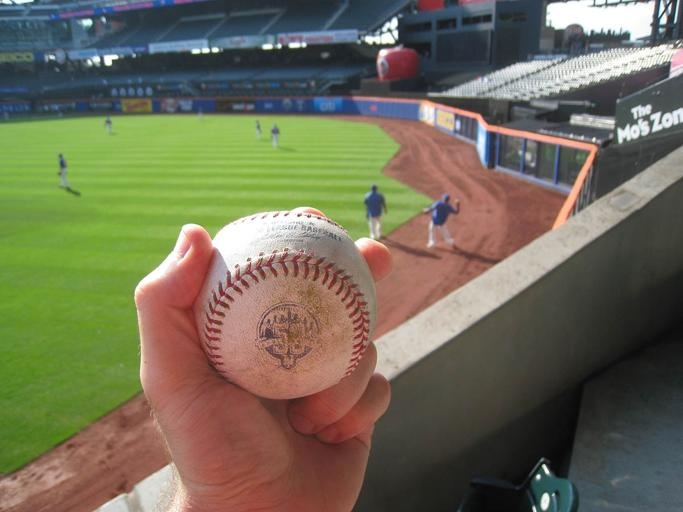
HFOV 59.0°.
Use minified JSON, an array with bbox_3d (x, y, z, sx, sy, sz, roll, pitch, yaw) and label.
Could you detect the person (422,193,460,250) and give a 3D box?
[{"bbox_3d":[1.746,-0.684,10.685,0.568,1.233,0.623,-10,22,-39],"label":"person"}]
